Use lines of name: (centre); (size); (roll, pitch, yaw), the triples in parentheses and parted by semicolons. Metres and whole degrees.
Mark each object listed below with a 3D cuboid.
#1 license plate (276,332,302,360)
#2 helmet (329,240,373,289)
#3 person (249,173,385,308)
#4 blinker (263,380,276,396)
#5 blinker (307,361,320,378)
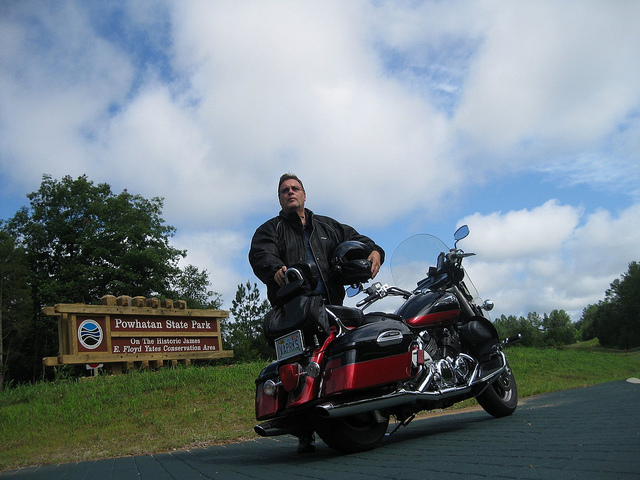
license plate: (-0.291, 0.994, 3.919); (0.315, 0.207, 0.035); (-21, -20, 39)
helmet: (0.333, 0.217, 4.611); (0.500, 0.488, 0.439); (-12, -12, 38)
person: (-0.094, 0.184, 4.338); (1.093, 1.491, 0.844); (-4, -29, -42)
blinker: (-0.469, 1.384, 3.916); (0.159, 0.172, 0.084); (-8, -14, 43)
blinker: (-0.060, 1.173, 3.767); (0.114, 0.144, 0.049); (-5, -18, 33)
